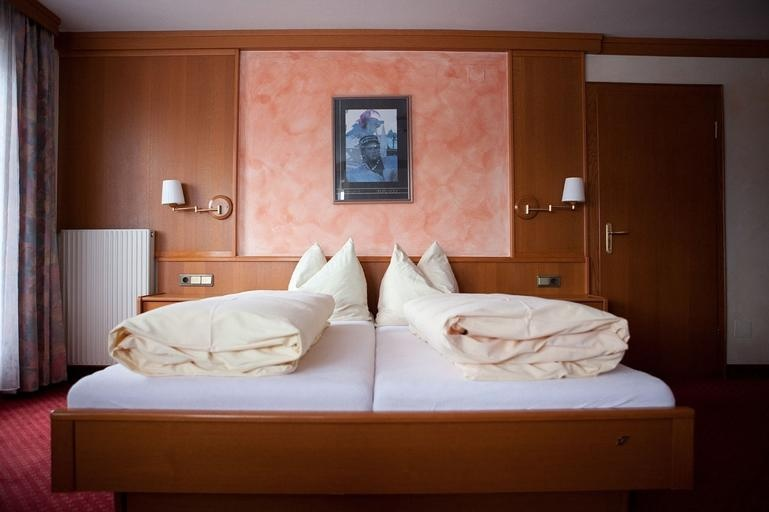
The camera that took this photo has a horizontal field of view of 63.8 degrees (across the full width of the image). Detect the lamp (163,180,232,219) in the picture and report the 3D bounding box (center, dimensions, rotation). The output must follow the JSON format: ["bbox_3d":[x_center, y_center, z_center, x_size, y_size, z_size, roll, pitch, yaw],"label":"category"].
[{"bbox_3d":[-1.708,-0.506,5.619,0.633,0.348,0.184,0,2,-1],"label":"lamp"}]

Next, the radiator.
[{"bbox_3d":[-2.561,0.115,5.633,0.879,0.163,1.319,7,33,-24],"label":"radiator"}]

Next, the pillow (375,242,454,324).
[{"bbox_3d":[0.236,0.228,5.217,0.646,0.673,0.204,4,-9,-17],"label":"pillow"}]

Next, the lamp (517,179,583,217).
[{"bbox_3d":[1.549,-0.538,5.722,0.604,0.282,0.198,-5,-8,42],"label":"lamp"}]

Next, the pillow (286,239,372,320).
[{"bbox_3d":[-0.388,0.206,5.194,0.645,0.655,0.199,-8,-13,7],"label":"pillow"}]
